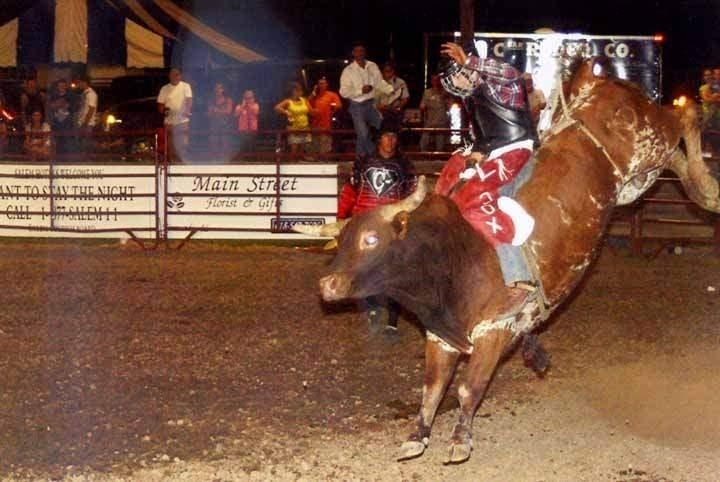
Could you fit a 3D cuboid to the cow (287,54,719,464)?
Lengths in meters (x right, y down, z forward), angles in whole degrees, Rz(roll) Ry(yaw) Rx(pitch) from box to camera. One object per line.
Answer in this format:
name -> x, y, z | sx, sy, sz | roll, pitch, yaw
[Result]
cow -> 1.524, 0.253, 9.038 | 4.146, 3.848, 1.198 | -9, 16, -29
